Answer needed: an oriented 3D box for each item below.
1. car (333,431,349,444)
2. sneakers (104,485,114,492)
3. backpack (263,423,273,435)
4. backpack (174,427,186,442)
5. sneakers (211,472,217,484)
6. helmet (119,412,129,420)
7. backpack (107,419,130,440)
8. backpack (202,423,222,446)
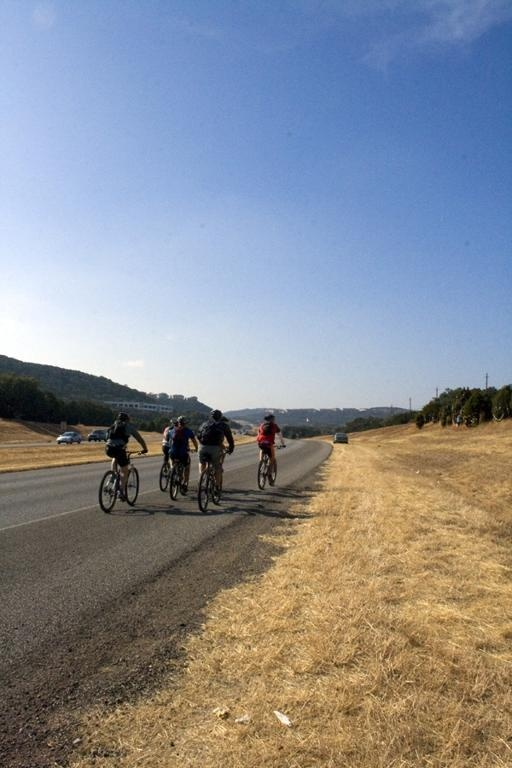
[{"bbox_3d":[10.664,7.005,62.226,1.390,1.460,2.873,0,-2,6],"label":"car"},{"bbox_3d":[-2.763,2.000,9.237,0.140,0.075,0.217,10,-4,-15],"label":"sneakers"},{"bbox_3d":[0.317,1.159,12.585,0.196,0.318,0.288,8,16,18],"label":"backpack"},{"bbox_3d":[-1.598,1.103,10.432,0.161,0.298,0.261,3,-21,-3],"label":"backpack"},{"bbox_3d":[-0.848,1.989,10.187,0.058,0.277,0.073,-4,12,-8],"label":"sneakers"},{"bbox_3d":[-2.510,0.667,9.424,0.122,0.187,0.182,4,7,20],"label":"helmet"},{"bbox_3d":[-2.598,0.946,9.419,0.269,0.467,0.437,5,-14,6],"label":"backpack"},{"bbox_3d":[-0.854,1.094,9.619,0.290,0.462,0.470,3,42,-4],"label":"backpack"}]
